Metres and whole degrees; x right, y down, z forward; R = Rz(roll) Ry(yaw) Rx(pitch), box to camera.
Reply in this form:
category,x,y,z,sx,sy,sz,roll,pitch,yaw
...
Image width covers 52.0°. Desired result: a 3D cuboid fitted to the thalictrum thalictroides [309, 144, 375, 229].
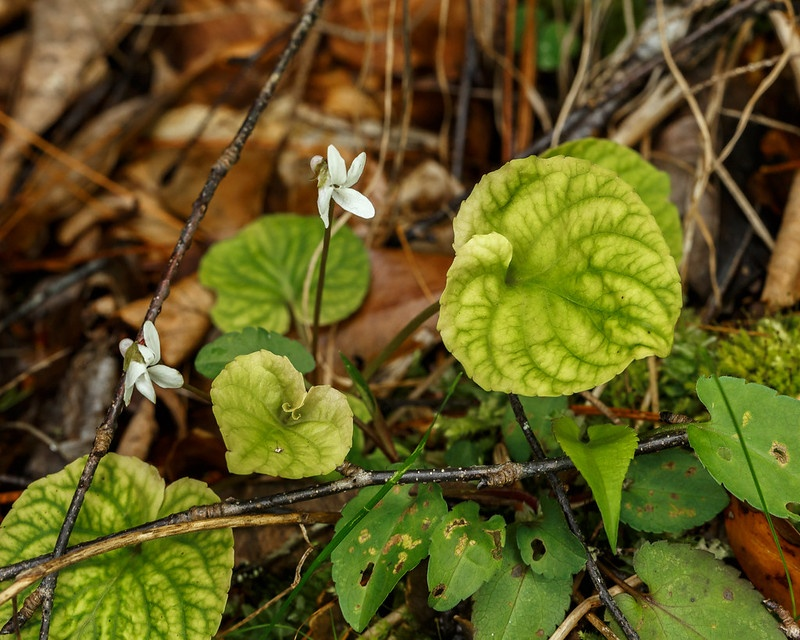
category,x,y,z,sx,sy,sz,roll,pitch,yaw
thalictrum thalictroides,-0.162,-0.380,2.235,0.144,0.199,0.157,-12,46,-2
